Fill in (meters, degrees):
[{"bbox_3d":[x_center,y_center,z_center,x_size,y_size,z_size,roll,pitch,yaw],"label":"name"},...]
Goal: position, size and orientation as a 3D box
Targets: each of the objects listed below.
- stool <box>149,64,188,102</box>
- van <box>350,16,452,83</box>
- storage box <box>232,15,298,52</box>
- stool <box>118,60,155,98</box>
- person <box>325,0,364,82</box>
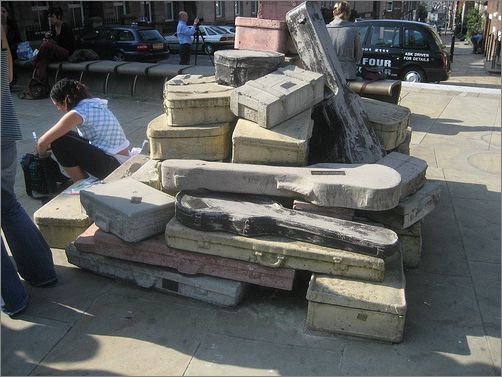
[{"bbox_3d":[-1.689,-2.292,9.642,0.942,0.477,0.671,17,45,26],"label":"stool"},{"bbox_3d":[4.187,-3.857,12.631,3.227,1.459,1.688,10,26,13],"label":"van"},{"bbox_3d":[0.195,-1.991,5.904,0.693,0.362,0.708,3,18,-1],"label":"storage box"},{"bbox_3d":[-2.487,-2.326,9.931,0.778,0.705,0.677,7,38,8],"label":"stool"},{"bbox_3d":[1.465,-2.296,7.159,0.572,1.210,0.753,5,23,12],"label":"person"}]
